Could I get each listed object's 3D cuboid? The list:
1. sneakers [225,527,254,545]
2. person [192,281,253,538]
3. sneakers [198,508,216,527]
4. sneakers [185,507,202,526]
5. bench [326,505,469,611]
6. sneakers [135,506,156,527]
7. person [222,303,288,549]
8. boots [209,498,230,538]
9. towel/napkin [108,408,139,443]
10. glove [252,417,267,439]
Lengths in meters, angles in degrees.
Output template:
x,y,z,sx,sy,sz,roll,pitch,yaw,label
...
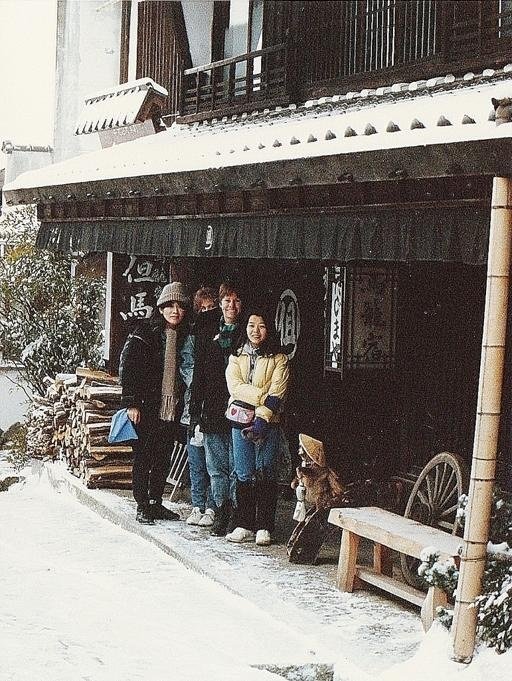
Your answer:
x,y,z,sx,sy,sz,roll,pitch,yaw,label
-0.124,1.670,6.835,0.208,0.124,0.112,9,-15,-32,sneakers
-0.273,0.615,7.252,0.487,2.352,0.543,3,23,6,person
-0.445,1.649,7.441,0.071,0.118,0.212,5,-5,4,sneakers
-0.568,1.643,7.504,0.064,0.126,0.242,2,-18,7,sneakers
0.894,1.444,5.203,0.318,0.596,0.896,-9,9,-34,bench
-1.031,1.654,7.490,0.148,0.236,0.115,4,-7,-11,sneakers
0.006,0.750,6.779,0.558,1.764,0.404,-2,0,5,person
-0.294,1.578,7.070,0.092,0.309,0.355,-1,-18,7,boots
-1.217,0.808,7.449,0.258,0.320,0.251,-2,1,-14,towel/napkin
0.036,0.725,6.603,0.122,0.160,0.061,-2,0,0,glove
